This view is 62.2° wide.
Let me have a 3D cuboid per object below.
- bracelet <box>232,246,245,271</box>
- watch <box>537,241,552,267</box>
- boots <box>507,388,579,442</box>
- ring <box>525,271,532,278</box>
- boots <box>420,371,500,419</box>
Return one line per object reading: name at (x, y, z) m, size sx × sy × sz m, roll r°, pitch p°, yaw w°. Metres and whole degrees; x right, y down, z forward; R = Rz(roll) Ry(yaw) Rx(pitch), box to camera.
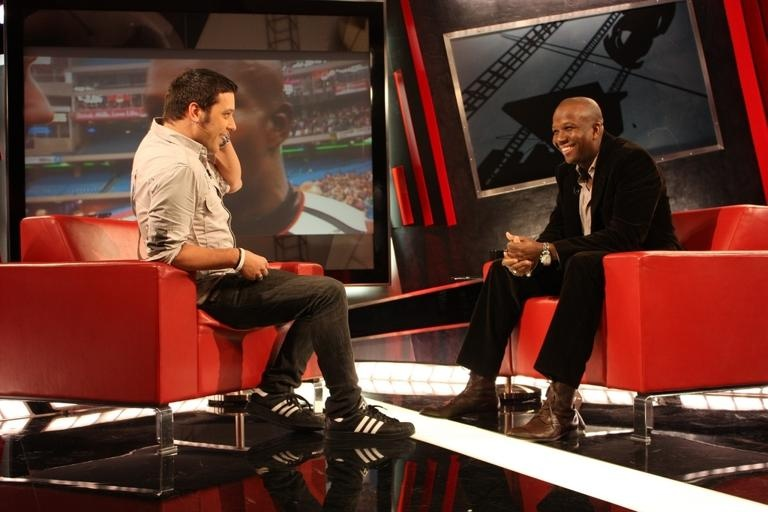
bracelet at (-0.656, 0.024, 2.881) m, size 0.033 × 0.082 × 0.073 m, roll 8°, pitch -24°, yaw -33°
watch at (0.823, 0.004, 3.245) m, size 0.076 × 0.105 × 0.101 m, roll -2°, pitch 20°, yaw -1°
boots at (0.777, 0.739, 3.035) m, size 0.419 × 0.256 × 0.170 m, roll -3°, pitch 0°, yaw -35°
ring at (0.754, 0.099, 3.317) m, size 0.032 × 0.029 × 0.030 m, roll 1°, pitch 9°, yaw 0°
boots at (0.402, 0.743, 3.357) m, size 0.423 × 0.258 × 0.142 m, roll -3°, pitch -28°, yaw 8°
